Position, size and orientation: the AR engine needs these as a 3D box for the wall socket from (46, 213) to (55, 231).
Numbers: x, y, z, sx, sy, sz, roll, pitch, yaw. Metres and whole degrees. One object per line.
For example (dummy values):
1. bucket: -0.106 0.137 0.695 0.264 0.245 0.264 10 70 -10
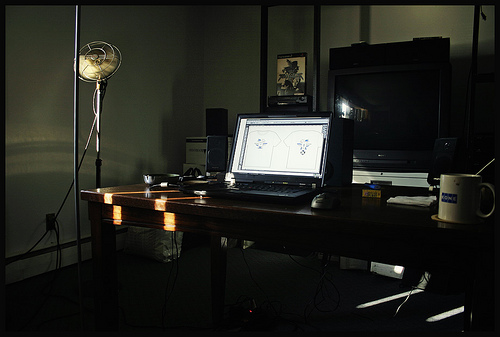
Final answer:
1. wall socket: -1.764 0.464 3.435 0.035 0.124 0.095 7 12 27

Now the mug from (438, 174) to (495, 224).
1. mug: 0.916 0.133 1.670 0.156 0.209 0.256 2 2 -39

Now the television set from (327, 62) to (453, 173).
1. television set: 1.236 -0.470 3.396 1.287 0.956 0.562 4 7 23

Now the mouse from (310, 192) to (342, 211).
1. mouse: 0.358 0.156 1.825 0.134 0.066 0.087 3 10 8

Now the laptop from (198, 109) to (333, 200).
1. laptop: 0.070 -0.086 2.057 0.645 0.420 0.517 3 7 29
